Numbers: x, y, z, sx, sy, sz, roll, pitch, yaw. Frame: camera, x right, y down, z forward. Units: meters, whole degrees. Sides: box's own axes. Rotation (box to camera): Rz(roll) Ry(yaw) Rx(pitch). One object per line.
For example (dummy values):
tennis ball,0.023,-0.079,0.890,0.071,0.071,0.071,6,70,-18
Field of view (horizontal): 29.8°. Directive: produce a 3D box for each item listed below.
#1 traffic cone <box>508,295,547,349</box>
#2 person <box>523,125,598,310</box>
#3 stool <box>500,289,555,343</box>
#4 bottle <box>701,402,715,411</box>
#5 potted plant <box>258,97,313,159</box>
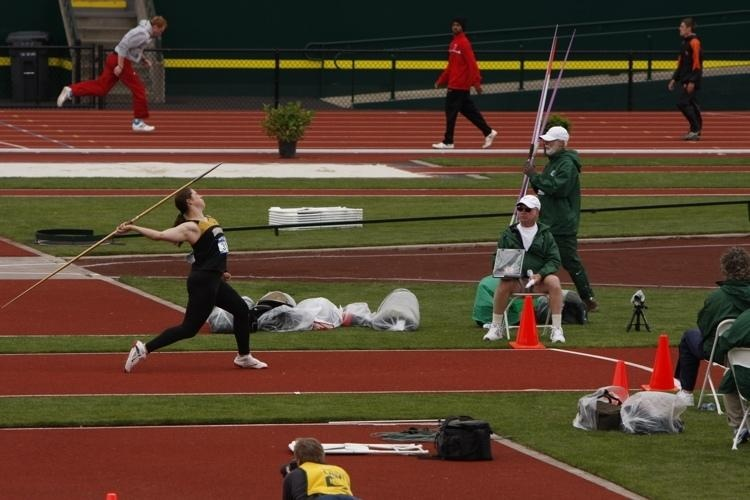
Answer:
traffic cone,2.216,1.021,20.106,0.468,0.759,0.488,2,5,5
person,2.839,-0.558,21.409,1.436,2.377,0.974,0,2,-1
stool,2.297,0.986,20.650,0.512,0.778,0.504,-1,2,-18
bottle,4.248,1.993,17.822,0.136,0.044,0.101,-8,28,-17
potted plant,-1.992,-2.766,31.889,1.825,1.369,1.374,0,6,-8
